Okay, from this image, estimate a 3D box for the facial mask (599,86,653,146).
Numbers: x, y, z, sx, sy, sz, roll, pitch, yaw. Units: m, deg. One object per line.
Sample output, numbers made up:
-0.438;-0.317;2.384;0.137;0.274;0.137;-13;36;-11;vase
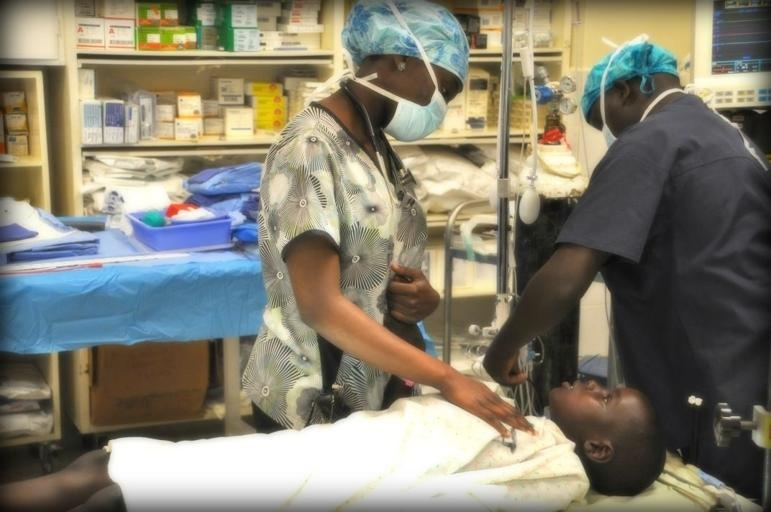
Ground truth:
0.777;-0.469;2.335;0.162;0.188;0.158;3;3;-2;facial mask
